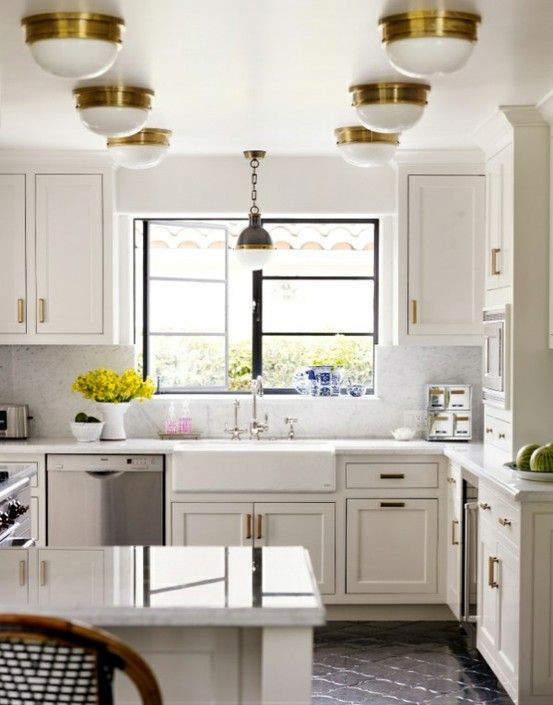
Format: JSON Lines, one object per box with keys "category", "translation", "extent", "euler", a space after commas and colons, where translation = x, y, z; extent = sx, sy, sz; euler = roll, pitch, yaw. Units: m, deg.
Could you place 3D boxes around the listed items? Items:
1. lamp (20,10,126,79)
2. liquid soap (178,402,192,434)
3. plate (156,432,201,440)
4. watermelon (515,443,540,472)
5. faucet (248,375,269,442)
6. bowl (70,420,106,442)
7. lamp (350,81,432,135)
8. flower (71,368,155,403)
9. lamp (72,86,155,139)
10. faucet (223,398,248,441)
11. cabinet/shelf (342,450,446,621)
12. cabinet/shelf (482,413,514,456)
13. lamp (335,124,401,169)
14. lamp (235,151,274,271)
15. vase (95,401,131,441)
{"category": "lamp", "translation": [-0.545, -0.837, 2.015], "extent": [0.223, 0.126, 0.214], "euler": [-1, -2, -1]}
{"category": "liquid soap", "translation": [-0.528, 0.381, 4.374], "extent": [0.076, 0.177, 0.137], "euler": [0, -1, -2]}
{"category": "plate", "translation": [-0.553, 0.483, 4.334], "extent": [0.233, 0.041, 0.114], "euler": [0, 0, -16]}
{"category": "watermelon", "translation": [0.991, 0.424, 2.985], "extent": [0.081, 0.076, 0.104], "euler": [-1, -2, 11]}
{"category": "faucet", "translation": [-0.106, 0.322, 4.377], "extent": [0.105, 0.361, 0.270], "euler": [0, -1, -2]}
{"category": "bowl", "translation": [-1.027, 0.426, 4.104], "extent": [0.132, 0.076, 0.131], "euler": [0, -4, 0]}
{"category": "lamp", "translation": [0.404, -0.852, 2.693], "extent": [0.304, 0.171, 0.296], "euler": [2, 9, 15]}
{"category": "flower", "translation": [-0.918, 0.153, 4.170], "extent": [0.311, 0.180, 0.241], "euler": [-1, 3, -27]}
{"category": "lamp", "translation": [-0.569, -0.830, 2.686], "extent": [0.232, 0.132, 0.224], "euler": [0, 2, 0]}
{"category": "faucet", "translation": [-0.243, 0.390, 4.335], "extent": [0.131, 0.232, 0.206], "euler": [0, 0, 1]}
{"category": "cabinet/shelf", "translation": [0.586, 0.915, 4.069], "extent": [0.590, 0.739, 0.543], "euler": [0, -1, -11]}
{"category": "cabinet/shelf", "translation": [1.008, 0.375, 3.423], "extent": [0.114, 0.107, 0.181], "euler": [1, -1, -7]}
{"category": "lamp", "translation": [0.359, -0.785, 2.966], "extent": [0.192, 0.096, 0.185], "euler": [0, 1, -17]}
{"category": "lamp", "translation": [-0.122, -0.757, 3.996], "extent": [0.185, 0.658, 0.528], "euler": [0, -1, -2]}
{"category": "vase", "translation": [-0.894, 0.377, 4.142], "extent": [0.211, 0.216, 0.205], "euler": [1, 2, -3]}
